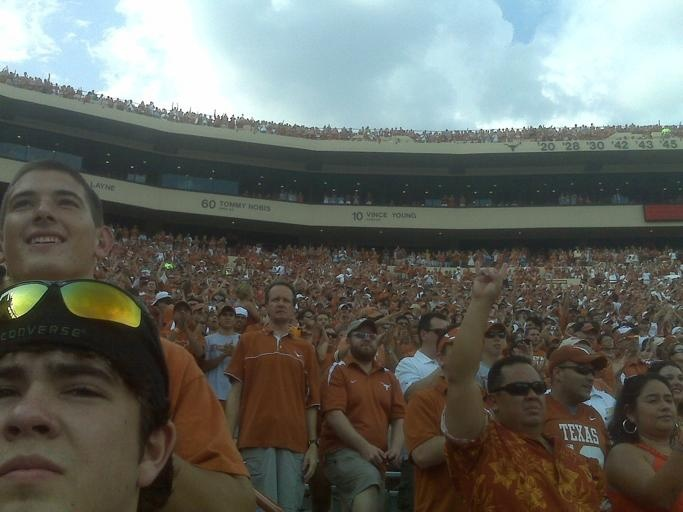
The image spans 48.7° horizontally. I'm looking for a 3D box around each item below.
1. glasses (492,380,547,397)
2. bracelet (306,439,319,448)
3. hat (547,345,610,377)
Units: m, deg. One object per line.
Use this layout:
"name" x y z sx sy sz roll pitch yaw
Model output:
"glasses" 1.214 0.914 5.209 0.372 0.105 0.116 0 -11 9
"bracelet" -0.242 1.583 6.340 0.072 0.081 0.051 0 2 2
"hat" 1.902 0.832 6.031 0.348 0.190 0.233 -15 -19 19
